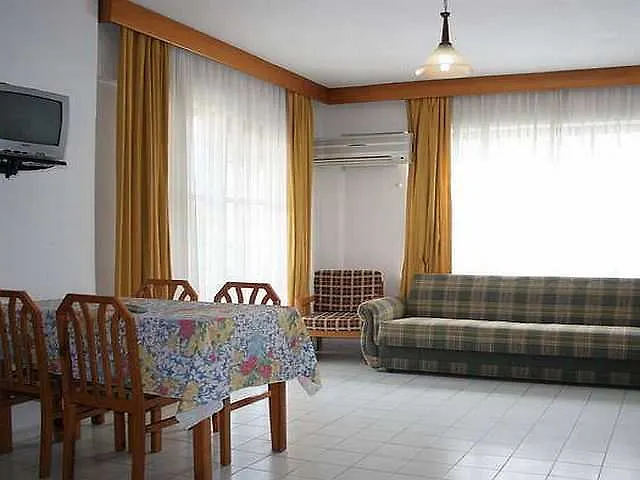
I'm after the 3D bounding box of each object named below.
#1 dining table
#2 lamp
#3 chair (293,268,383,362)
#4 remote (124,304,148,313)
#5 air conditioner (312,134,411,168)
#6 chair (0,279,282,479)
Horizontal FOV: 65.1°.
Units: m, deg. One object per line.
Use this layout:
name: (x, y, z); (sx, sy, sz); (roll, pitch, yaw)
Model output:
dining table: (-0.693, 0.605, 2.816); (1.390, 0.629, 1.057); (-2, -5, 29)
lamp: (0.916, -1.546, 3.770); (0.388, 0.853, 0.806); (-1, -2, 12)
chair: (0.221, 0.875, 6.113); (1.062, 1.257, 1.007); (0, -3, 9)
remote: (-1.037, 0.388, 2.854); (0.096, 0.023, 0.063); (3, 2, 43)
air conditioner: (0.537, -1.225, 6.852); (1.480, 0.400, 0.308); (4, 14, 33)
chair: (-1.198, 0.728, 3.350); (1.223, 1.930, 1.260); (-1, 1, 38)
